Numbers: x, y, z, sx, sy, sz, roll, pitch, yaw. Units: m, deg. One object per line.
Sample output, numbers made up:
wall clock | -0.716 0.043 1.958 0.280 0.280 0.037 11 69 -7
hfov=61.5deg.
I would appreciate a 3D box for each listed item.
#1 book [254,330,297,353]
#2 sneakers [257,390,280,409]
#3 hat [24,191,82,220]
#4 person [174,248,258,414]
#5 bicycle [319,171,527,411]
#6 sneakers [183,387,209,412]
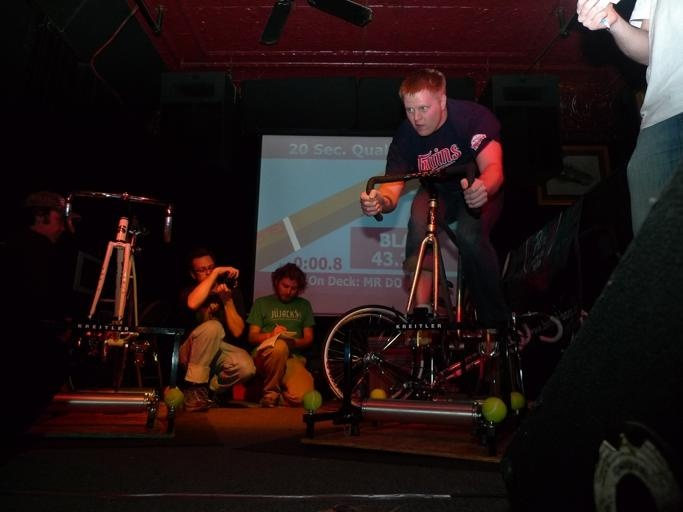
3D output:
book | -0.516 0.667 4.322 0.187 0.083 0.247 -3 -12 -24
sneakers | -0.520 1.065 4.256 0.157 0.115 0.129 2 -3 -12
hat | -2.067 -0.372 4.015 0.428 0.180 0.295 7 -1 -34
person | -0.967 0.561 4.465 0.553 1.195 1.252 2 -3 -15
bicycle | 0.806 0.445 3.718 0.826 1.203 1.999 -7 -11 42
sneakers | -0.971 0.960 3.858 0.171 0.149 0.135 3 -4 -29
